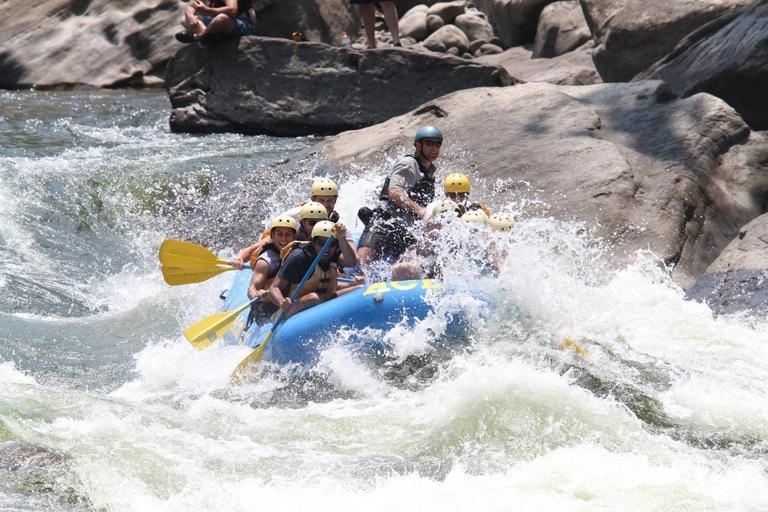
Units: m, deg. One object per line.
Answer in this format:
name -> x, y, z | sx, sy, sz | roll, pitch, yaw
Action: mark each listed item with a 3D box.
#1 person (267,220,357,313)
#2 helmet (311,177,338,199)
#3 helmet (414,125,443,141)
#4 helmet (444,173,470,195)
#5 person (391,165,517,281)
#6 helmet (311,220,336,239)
person -> -0.769, 0.129, 10.479 | 0.732, 0.797, 0.972 | 39, 108, 25
helmet -> -0.643, -0.728, 10.971 | 0.227, 0.277, 0.208 | 1, 64, -6
helmet -> 0.529, -1.415, 11.543 | 0.461, 0.428, 0.155 | 3, 97, -2
helmet -> 0.810, -0.782, 10.993 | 0.214, 0.275, 0.205 | 2, 100, 19
person -> 0.719, -0.319, 10.725 | 1.055, 0.527, 1.324 | 3, 37, 9
helmet -> -0.606, -0.272, 10.394 | 0.208, 0.154, 0.153 | -35, 63, 33
